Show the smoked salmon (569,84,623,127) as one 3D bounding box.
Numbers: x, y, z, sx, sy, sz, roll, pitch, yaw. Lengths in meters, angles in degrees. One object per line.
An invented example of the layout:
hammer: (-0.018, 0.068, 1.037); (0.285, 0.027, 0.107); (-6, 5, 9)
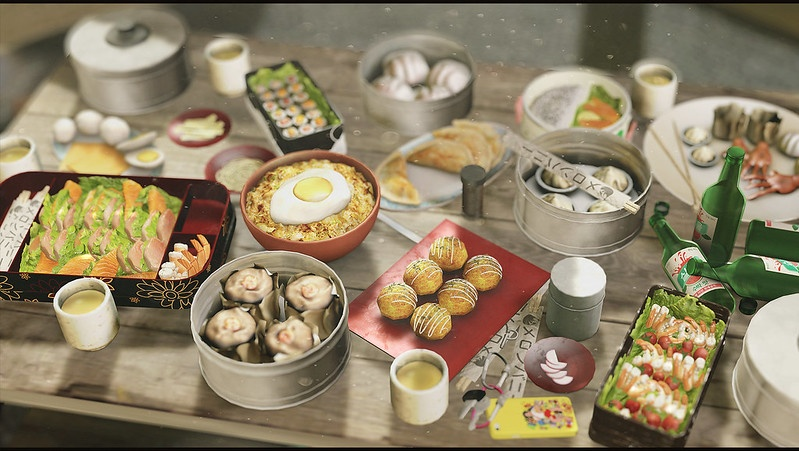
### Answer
smoked salmon: (0.819, -0.472, 2.312); (0.196, 0.192, 0.077); (11, 7, 12)

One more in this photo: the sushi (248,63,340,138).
sushi: (-0.465, -0.498, 2.526); (0.295, 0.152, 0.447); (-29, 61, -13)
